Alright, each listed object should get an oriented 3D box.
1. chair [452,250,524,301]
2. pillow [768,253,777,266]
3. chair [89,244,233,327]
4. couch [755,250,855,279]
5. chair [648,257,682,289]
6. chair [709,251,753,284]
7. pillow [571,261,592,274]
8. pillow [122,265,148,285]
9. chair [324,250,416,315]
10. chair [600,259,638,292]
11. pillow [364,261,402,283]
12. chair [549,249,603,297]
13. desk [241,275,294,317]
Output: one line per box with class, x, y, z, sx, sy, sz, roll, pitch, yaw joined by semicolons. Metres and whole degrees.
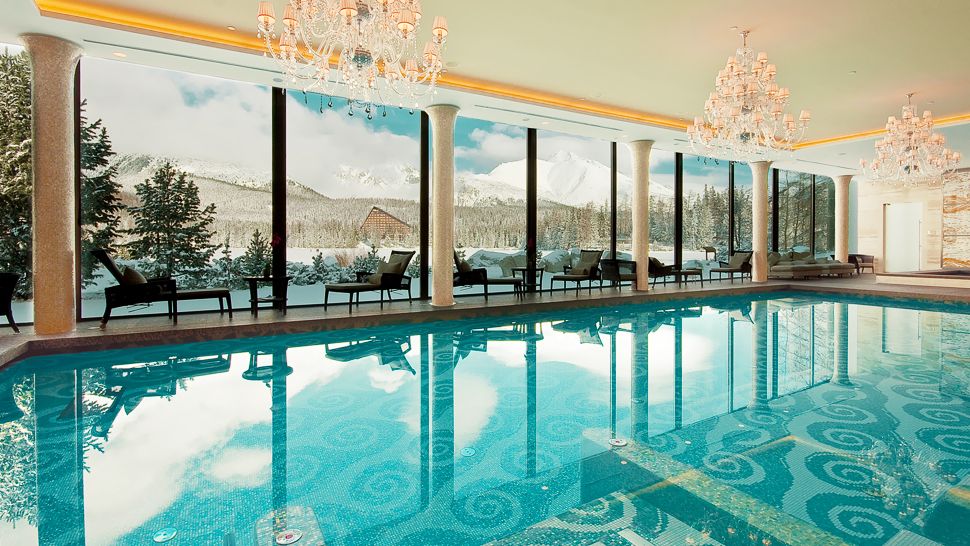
chair;0.078;0.009;13.384;1.706;0.857;0.943;1;4;-6
pillow;9.226;-0.450;18.361;0.464;0.373;0.128;2;-5;7
chair;-6.035;0.231;10.745;2.259;1.048;1.149;1;0;-32
couch;10.260;-0.247;18.256;2.997;0.811;0.982;-2;3;-24
chair;4.862;-0.086;15.573;1.055;0.746;0.780;-1;0;-7
chair;7.393;-0.226;17.100;1.363;0.858;0.913;1;-2;-27
pillow;2.404;-0.113;14.103;0.299;0.273;0.465;-3;4;-36
pillow;-6.295;0.062;10.302;0.205;0.290;0.589;-21;-15;1
chair;-2.383;0.122;12.022;1.789;0.960;1.030;-8;8;-36
chair;3.442;0.033;14.975;0.944;0.696;0.849;-1;2;-25
pillow;-2.090;-0.003;12.054;0.700;0.409;0.629;-2;3;-18
chair;2.308;-0.057;14.202;0.888;0.879;1.214;3;10;36
desk;-4.465;0.440;11.826;1.014;0.598;0.931;-2;-4;-19
